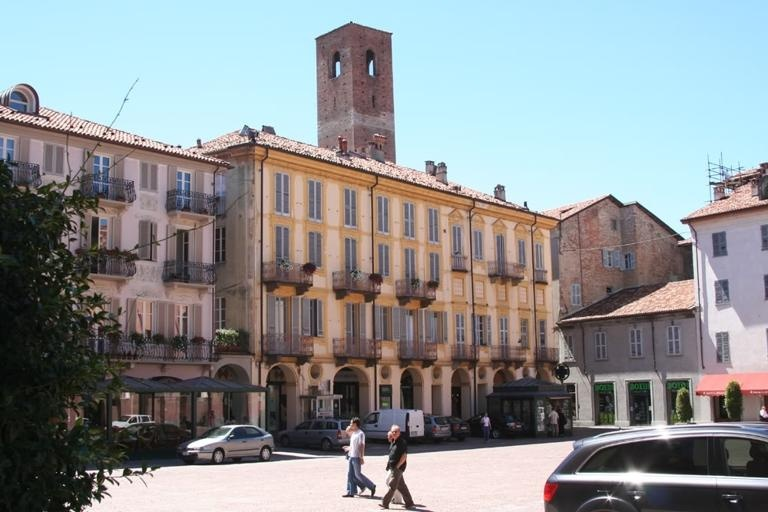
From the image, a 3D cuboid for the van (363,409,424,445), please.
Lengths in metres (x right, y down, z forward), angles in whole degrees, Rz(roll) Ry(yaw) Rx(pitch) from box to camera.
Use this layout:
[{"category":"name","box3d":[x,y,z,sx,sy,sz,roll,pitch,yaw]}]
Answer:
[{"category":"van","box3d":[0.412,8.099,49.940,2.459,1.177,1.731,-1,-6,35]}]

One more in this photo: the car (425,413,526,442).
[{"category":"car","box3d":[4.402,8.786,53.687,3.471,1.584,6.848,-10,-17,31]}]

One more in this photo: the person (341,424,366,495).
[{"category":"person","box3d":[-0.751,5.746,28.977,0.805,1.906,1.239,0,-15,-4]}]
